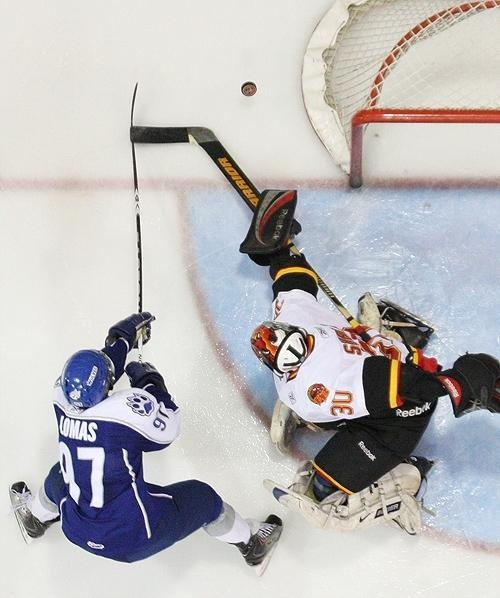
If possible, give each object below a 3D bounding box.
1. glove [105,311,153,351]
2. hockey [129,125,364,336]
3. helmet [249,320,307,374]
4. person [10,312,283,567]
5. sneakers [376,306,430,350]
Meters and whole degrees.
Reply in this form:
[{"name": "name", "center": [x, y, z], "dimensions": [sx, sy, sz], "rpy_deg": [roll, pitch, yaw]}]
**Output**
[{"name": "glove", "center": [-0.639, 0.160, 3.554], "dimensions": [0.128, 0.164, 0.376], "rpy_deg": [33, 19, 2]}, {"name": "hockey", "center": [-0.029, -0.530, 3.935], "dimensions": [0.458, 0.127, 2.441], "rpy_deg": [-47, 56, 9]}, {"name": "helmet", "center": [0.138, 0.204, 3.125], "dimensions": [0.287, 0.214, 0.259], "rpy_deg": [29, 4, -2]}, {"name": "person", "center": [-0.522, 0.928, 3.252], "dimensions": [0.852, 1.488, 0.637], "rpy_deg": [-30, 36, -33]}, {"name": "sneakers", "center": [0.887, 0.177, 3.832], "dimensions": [0.217, 0.326, 0.108], "rpy_deg": [-60, 5, -17]}]
